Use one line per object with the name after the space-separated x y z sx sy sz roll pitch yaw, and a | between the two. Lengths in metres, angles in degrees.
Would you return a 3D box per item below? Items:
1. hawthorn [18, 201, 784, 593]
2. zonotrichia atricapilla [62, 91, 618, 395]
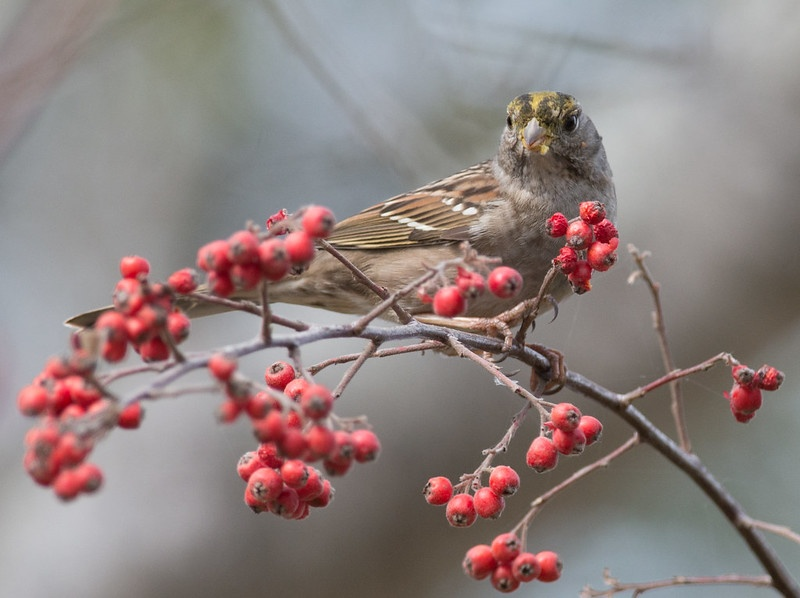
0.049 0.210 2.773 2.175 1.363 0.872 8 -101 -21 | hawthorn
-0.077 -0.535 5.004 0.735 2.804 1.478 2 -79 -52 | zonotrichia atricapilla
